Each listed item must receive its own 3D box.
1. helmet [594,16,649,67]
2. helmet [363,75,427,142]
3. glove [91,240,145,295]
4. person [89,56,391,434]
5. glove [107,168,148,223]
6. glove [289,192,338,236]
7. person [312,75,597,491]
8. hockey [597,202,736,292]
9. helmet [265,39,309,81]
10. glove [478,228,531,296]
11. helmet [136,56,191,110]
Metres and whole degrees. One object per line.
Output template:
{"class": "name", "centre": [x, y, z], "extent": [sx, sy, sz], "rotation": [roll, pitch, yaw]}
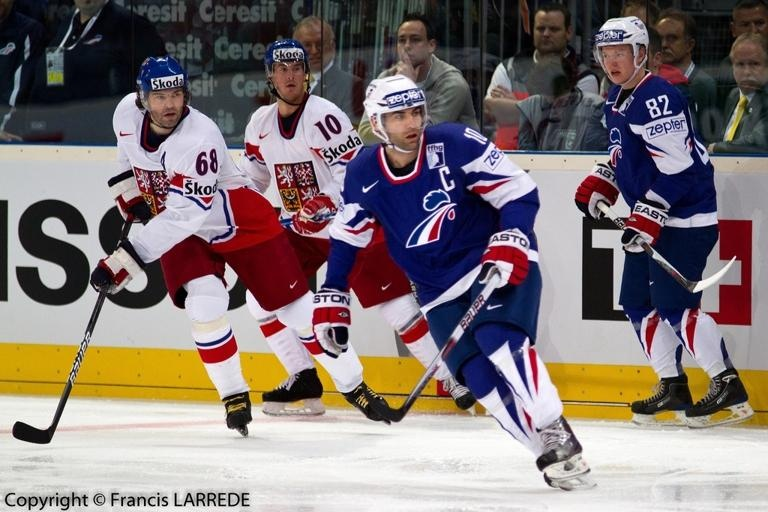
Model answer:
{"class": "helmet", "centre": [1.320, -1.177, 5.694], "extent": [0.277, 0.320, 0.337], "rotation": [3, 13, 33]}
{"class": "helmet", "centre": [0.043, -0.715, 4.894], "extent": [0.254, 0.309, 0.321], "rotation": [-17, 11, -20]}
{"class": "glove", "centre": [-1.414, 0.055, 5.539], "extent": [0.313, 0.143, 0.405], "rotation": [-23, 21, -22]}
{"class": "person", "centre": [-0.905, -0.004, 5.740], "extent": [1.236, 2.392, 0.863], "rotation": [-19, 19, -2]}
{"class": "glove", "centre": [-1.428, -0.375, 5.870], "extent": [0.124, 0.347, 0.282], "rotation": [-20, -22, 24]}
{"class": "glove", "centre": [-0.407, -0.218, 5.727], "extent": [0.249, 0.113, 0.188], "rotation": [-32, -12, 25]}
{"class": "person", "centre": [0.249, 0.187, 4.767], "extent": [1.113, 2.004, 0.842], "rotation": [-19, -3, -19]}
{"class": "hockey", "centre": [1.593, -0.058, 5.652], "extent": [0.187, 0.575, 0.028], "rotation": [-24, -29, -44]}
{"class": "helmet", "centre": [-0.546, -1.089, 5.895], "extent": [0.264, 0.315, 0.323], "rotation": [-5, 3, -8]}
{"class": "glove", "centre": [0.545, 0.024, 4.624], "extent": [0.190, 0.267, 0.117], "rotation": [20, -8, 5]}
{"class": "helmet", "centre": [-1.193, -0.909, 5.505], "extent": [0.271, 0.336, 0.320], "rotation": [-5, -3, -28]}
